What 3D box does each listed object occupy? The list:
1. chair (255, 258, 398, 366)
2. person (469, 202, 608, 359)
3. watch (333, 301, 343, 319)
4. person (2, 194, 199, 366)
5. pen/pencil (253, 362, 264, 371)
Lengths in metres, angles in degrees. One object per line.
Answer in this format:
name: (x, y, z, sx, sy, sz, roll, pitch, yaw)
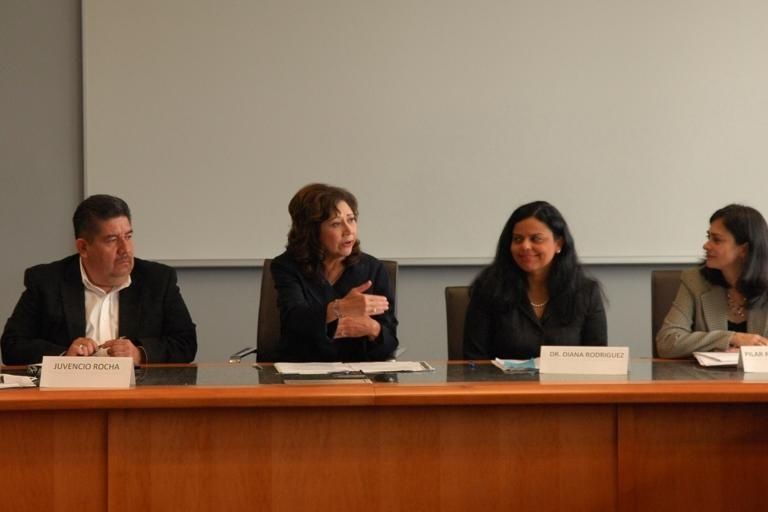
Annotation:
chair: (-0.264, 0.302, 3.254, 0.524, 0.716, 0.568, 0, -10, 0)
person: (0.725, 0.123, 3.326, 0.647, 0.788, 0.412, -2, -14, 18)
watch: (-0.199, 0.235, 2.920, 0.041, 0.067, 0.066, 1, -4, 8)
person: (-1.396, 0.105, 3.334, 0.738, 1.097, 0.585, 3, -21, -19)
pen/pencil: (-0.522, 0.458, 2.808, 0.028, 0.016, 0.110, -2, 4, -13)
